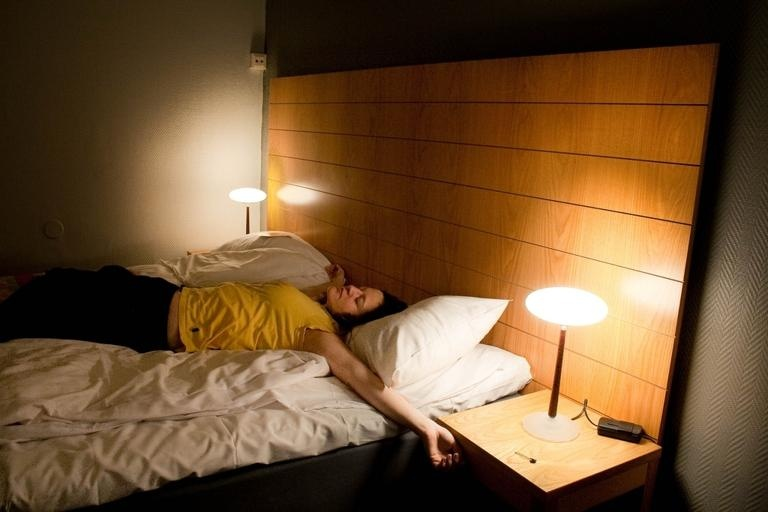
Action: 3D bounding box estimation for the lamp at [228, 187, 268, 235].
[{"bbox_3d":[-1.179,-0.392,4.665,0.325,0.442,0.315,-8,25,-31],"label":"lamp"}]

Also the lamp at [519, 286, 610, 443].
[{"bbox_3d":[0.717,0.458,2.200,0.295,0.530,0.302,-6,13,-33],"label":"lamp"}]

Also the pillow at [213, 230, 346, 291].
[{"bbox_3d":[-0.689,0.040,3.526,0.551,0.155,0.493,-8,15,-26],"label":"pillow"}]
